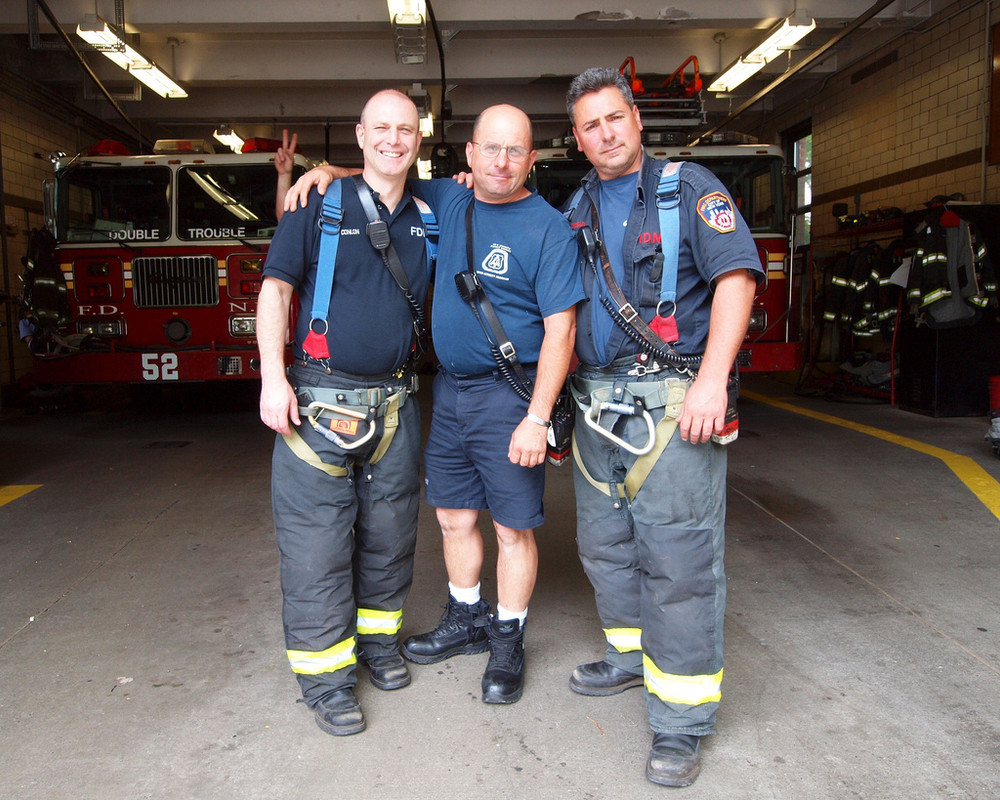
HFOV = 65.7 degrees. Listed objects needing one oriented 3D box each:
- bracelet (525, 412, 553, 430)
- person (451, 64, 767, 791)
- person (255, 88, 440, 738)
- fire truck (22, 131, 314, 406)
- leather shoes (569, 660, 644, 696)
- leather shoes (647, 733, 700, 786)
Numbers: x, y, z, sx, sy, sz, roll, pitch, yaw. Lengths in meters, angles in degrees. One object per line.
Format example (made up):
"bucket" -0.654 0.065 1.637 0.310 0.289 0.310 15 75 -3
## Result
"bracelet" 0.132 0.081 2.798 0.079 0.047 0.067 -4 -23 -19
"person" 0.573 0.033 2.675 0.581 2.304 0.816 -3 11 -12
"person" -0.526 0.007 2.888 0.709 2.257 0.589 -7 13 -30
"fire truck" -3.668 -1.378 8.143 1.990 1.902 3.305 -1 1 -4
"leather shoes" 0.381 1.074 2.987 0.306 0.124 0.113 4 9 -6
"leather shoes" 0.565 1.172 2.534 0.167 0.117 0.134 1 11 11
